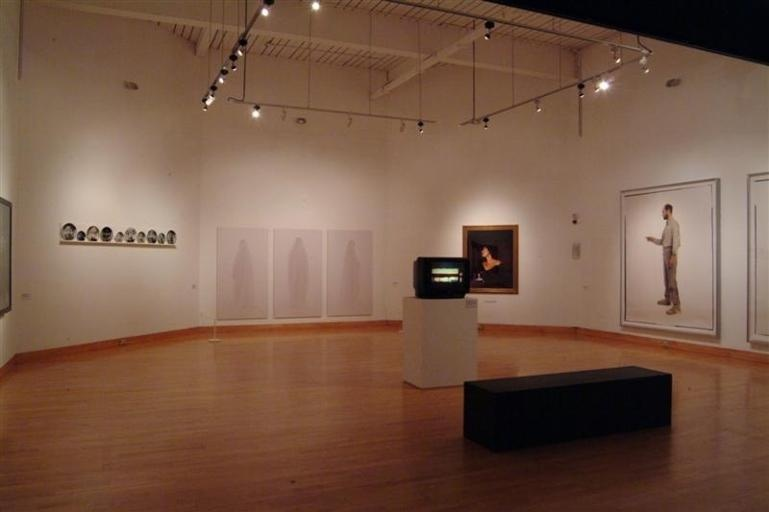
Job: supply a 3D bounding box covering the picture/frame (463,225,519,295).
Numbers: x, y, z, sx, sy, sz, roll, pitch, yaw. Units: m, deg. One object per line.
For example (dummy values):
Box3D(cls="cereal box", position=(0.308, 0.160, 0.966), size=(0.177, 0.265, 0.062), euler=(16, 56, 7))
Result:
Box3D(cls="picture/frame", position=(3.271, 0.133, 16.468), size=(1.872, 2.501, 0.107), euler=(0, 0, 26))
